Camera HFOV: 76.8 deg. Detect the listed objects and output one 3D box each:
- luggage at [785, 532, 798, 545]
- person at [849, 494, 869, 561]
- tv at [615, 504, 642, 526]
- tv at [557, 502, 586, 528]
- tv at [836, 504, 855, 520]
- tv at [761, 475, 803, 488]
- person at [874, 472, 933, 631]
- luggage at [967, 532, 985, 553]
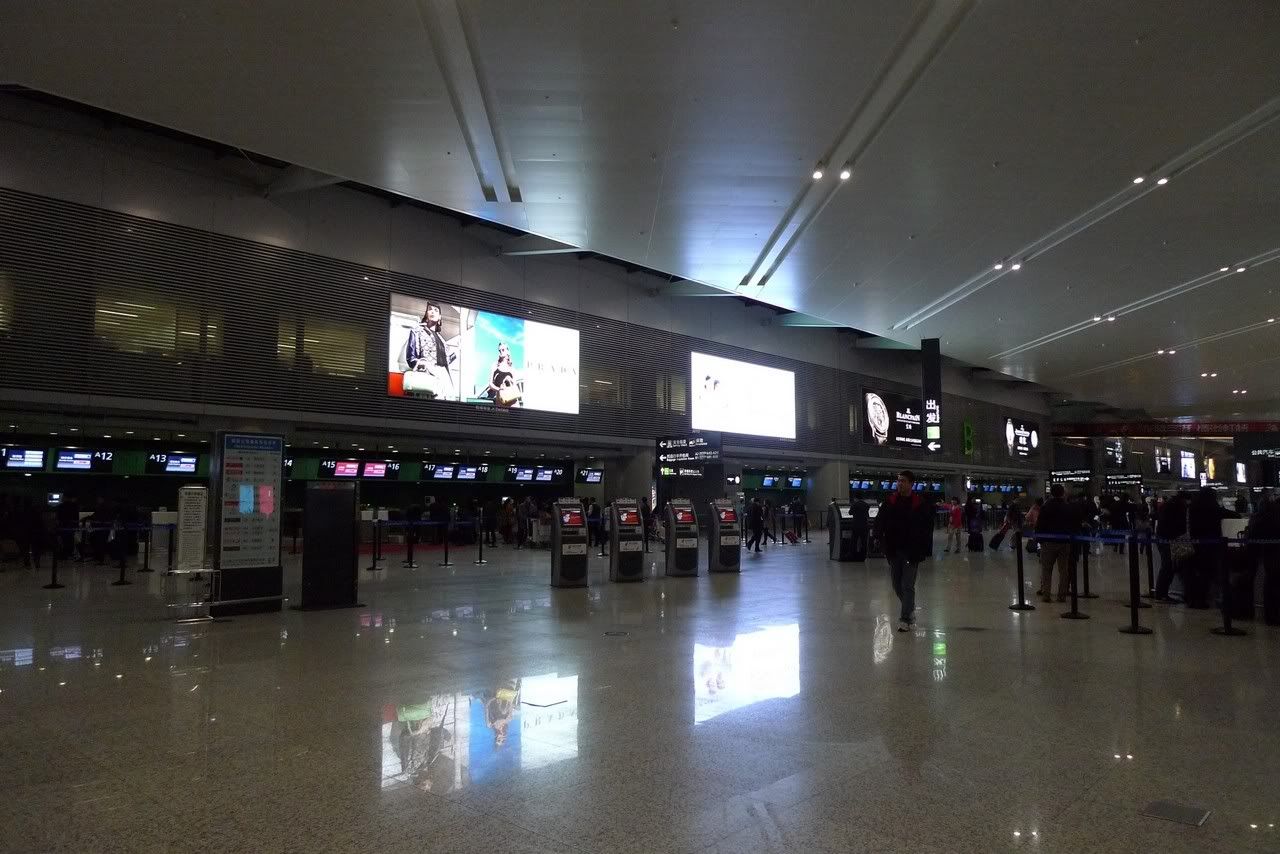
[{"bbox_3d":[5.307,3.924,28.519,0.565,0.378,0.333,10,16,-19],"label":"luggage"},{"bbox_3d":[5.644,2.664,20.816,0.485,1.496,0.282,2,-5,-17],"label":"person"},{"bbox_3d":[-0.256,1.794,16.004,0.514,0.492,0.386,4,-10,-28],"label":"tv"},{"bbox_3d":[-1.294,1.670,15.253,0.548,0.550,0.442,6,-11,-42],"label":"tv"},{"bbox_3d":[5.306,2.209,20.999,0.314,0.079,0.342,-1,37,6],"label":"tv"},{"bbox_3d":[6.273,2.411,35.994,2.308,0.667,0.697,3,-6,-32],"label":"tv"},{"bbox_3d":[3.673,1.656,11.269,0.672,2.086,1.512,-1,-5,17],"label":"person"},{"bbox_3d":[10.045,3.437,24.075,0.569,0.617,0.539,0,-8,-2],"label":"luggage"}]
